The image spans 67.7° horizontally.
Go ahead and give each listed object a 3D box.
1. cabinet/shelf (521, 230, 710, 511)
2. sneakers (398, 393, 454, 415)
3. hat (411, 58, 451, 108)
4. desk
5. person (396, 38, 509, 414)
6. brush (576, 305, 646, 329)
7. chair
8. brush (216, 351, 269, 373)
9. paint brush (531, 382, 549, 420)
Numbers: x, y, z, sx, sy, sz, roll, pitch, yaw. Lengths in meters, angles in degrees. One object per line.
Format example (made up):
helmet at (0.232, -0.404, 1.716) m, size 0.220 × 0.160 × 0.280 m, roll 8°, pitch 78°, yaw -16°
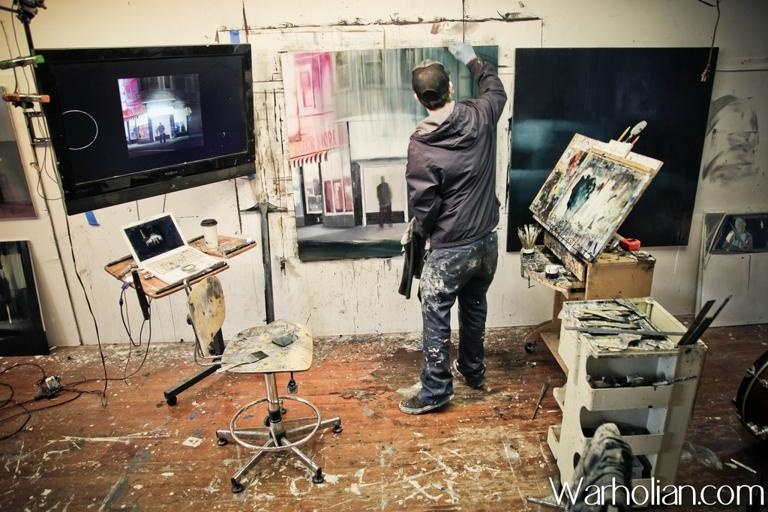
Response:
cabinet/shelf at (1.526, 0.760, 3.876) m, size 0.890 × 1.404 × 1.116 m, roll -2°, pitch 18°, yaw 4°
sneakers at (0.321, 1.104, 4.244) m, size 0.379 × 0.158 × 0.161 m, roll -2°, pitch 8°, yaw -6°
hat at (0.320, -1.169, 3.909) m, size 0.234 × 0.334 × 0.195 m, roll 0°, pitch 8°, yaw 7°
desk at (-1.590, 0.493, 4.509) m, size 0.820 × 0.892 × 0.926 m, roll 16°, pitch 32°, yaw 23°
person at (0.486, -0.114, 4.191) m, size 0.492 × 2.482 × 1.054 m, roll 13°, pitch 24°, yaw 40°
brush at (1.437, 0.402, 3.619) m, size 0.269 × 0.047 × 0.171 m, roll 1°, pitch 28°, yaw 2°
chair at (-0.777, 0.796, 3.941) m, size 0.950 × 1.282 × 0.940 m, roll -4°, pitch 19°, yaw -14°
brush at (-0.894, 0.692, 3.719) m, size 0.134 × 0.036 × 0.316 m, roll 17°, pitch 35°, yaw 35°
paint brush at (1.176, 1.110, 4.294) m, size 0.046 × 0.024 × 0.280 m, roll -3°, pitch 45°, yaw 43°
